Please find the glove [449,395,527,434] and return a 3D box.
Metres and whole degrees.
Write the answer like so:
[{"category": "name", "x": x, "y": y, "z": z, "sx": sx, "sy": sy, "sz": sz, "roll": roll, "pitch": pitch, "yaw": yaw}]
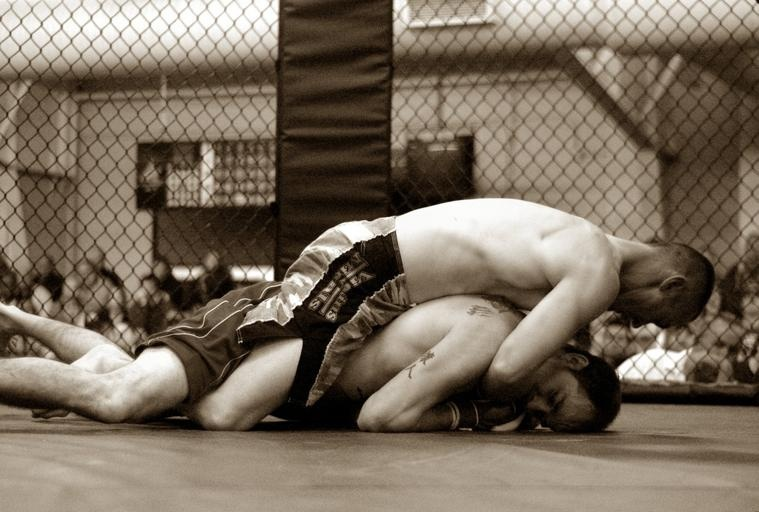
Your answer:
[{"category": "glove", "x": 0.454, "y": 0.680, "z": 4.793, "sx": 0.264, "sy": 0.127, "sz": 0.104, "roll": 0, "pitch": 9, "yaw": -2}]
